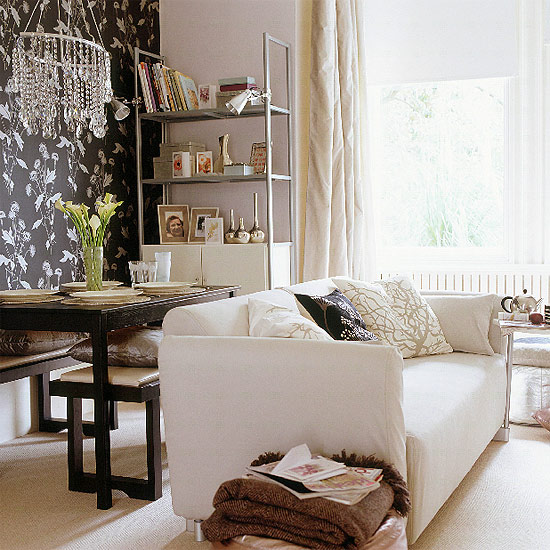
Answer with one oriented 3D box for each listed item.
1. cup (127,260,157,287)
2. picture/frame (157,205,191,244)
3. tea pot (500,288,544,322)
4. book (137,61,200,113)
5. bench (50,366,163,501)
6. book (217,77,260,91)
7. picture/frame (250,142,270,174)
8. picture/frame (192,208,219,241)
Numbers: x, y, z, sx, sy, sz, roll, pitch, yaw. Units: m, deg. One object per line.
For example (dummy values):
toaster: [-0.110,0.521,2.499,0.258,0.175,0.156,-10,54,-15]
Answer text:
cup: [-0.703,-0.021,2.693,0.115,0.166,0.137,1,4,18]
picture/frame: [-0.794,-0.399,4.004,0.246,0.372,0.023,1,-14,-21]
tea pot: [1.273,0.139,2.649,0.226,0.204,0.157,-2,0,13]
book: [-0.830,-1.421,3.957,0.468,0.349,0.245,3,10,-14]
bench: [-0.631,0.523,2.247,0.408,0.647,0.589,-1,-2,13]
book: [-0.276,-1.416,3.779,0.274,0.126,0.132,10,11,20]
picture/frame: [-0.131,-0.888,3.858,0.107,0.227,0.261,4,11,-5]
picture/frame: [-0.541,-0.385,3.941,0.203,0.314,0.028,-3,-15,15]
